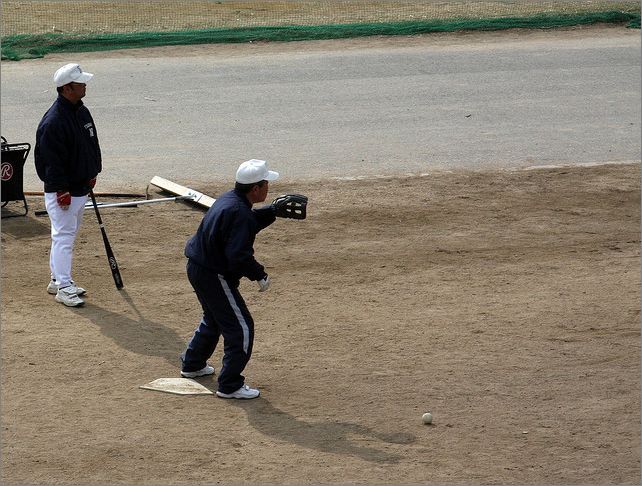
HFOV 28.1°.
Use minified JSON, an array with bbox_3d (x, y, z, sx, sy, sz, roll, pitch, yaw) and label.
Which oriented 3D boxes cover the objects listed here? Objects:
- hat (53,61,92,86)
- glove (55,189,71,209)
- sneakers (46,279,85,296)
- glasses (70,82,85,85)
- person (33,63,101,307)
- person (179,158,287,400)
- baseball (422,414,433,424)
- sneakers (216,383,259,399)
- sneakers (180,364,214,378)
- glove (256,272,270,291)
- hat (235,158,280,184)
[{"bbox_3d":[-3.388,-2.281,17.230,0.567,0.189,0.291,-7,29,-9],"label":"hat"},{"bbox_3d":[-3.472,-0.578,17.327,0.193,0.276,0.106,-9,18,-24],"label":"glove"},{"bbox_3d":[-3.501,0.617,17.754,0.673,0.215,0.178,2,39,-1],"label":"sneakers"},{"bbox_3d":[-3.284,-2.155,17.207,0.135,0.027,0.064,-4,13,8],"label":"glasses"},{"bbox_3d":[-3.478,-0.779,17.431,0.741,3.302,0.913,0,17,7],"label":"person"},{"bbox_3d":[-1.207,0.483,16.109,1.260,2.998,0.779,-3,17,-3],"label":"person"},{"bbox_3d":[1.312,2.180,15.890,0.176,0.104,0.125,7,19,11],"label":"baseball"},{"bbox_3d":[-1.037,1.891,16.288,0.605,0.184,0.173,-2,13,-3],"label":"sneakers"},{"bbox_3d":[-1.584,1.664,16.608,0.446,0.146,0.141,-8,30,-26],"label":"sneakers"},{"bbox_3d":[-0.754,0.494,16.065,0.145,0.241,0.117,13,3,-41],"label":"glove"},{"bbox_3d":[-0.801,-0.907,16.021,0.530,0.154,0.291,-7,28,-17],"label":"hat"}]
